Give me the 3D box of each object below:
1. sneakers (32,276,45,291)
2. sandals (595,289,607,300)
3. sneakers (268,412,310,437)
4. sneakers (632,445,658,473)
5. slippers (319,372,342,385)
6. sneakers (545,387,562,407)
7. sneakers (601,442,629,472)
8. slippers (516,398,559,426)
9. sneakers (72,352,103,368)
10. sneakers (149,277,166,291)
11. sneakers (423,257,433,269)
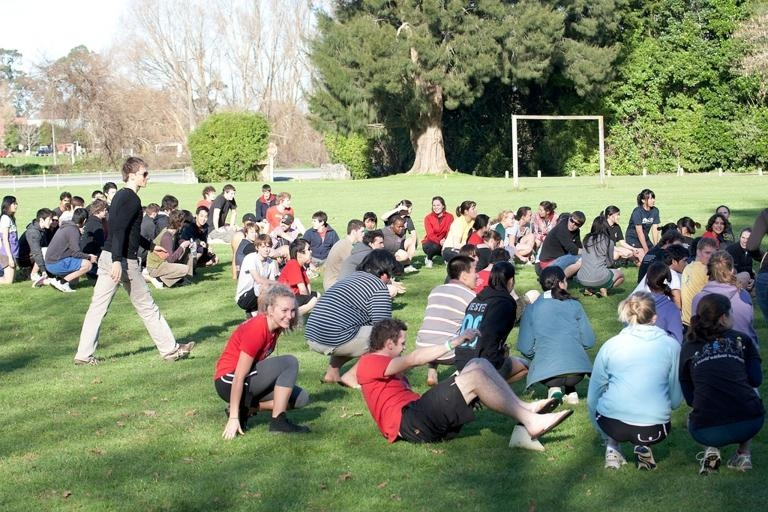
[{"bbox_3d":[-7.769,0.576,16.263,0.250,0.229,0.592,8,-1,-15],"label":"sneakers"},{"bbox_3d":[4.275,0.758,14.141,0.143,0.196,0.442,4,6,16],"label":"sandals"},{"bbox_3d":[-1.232,2.165,9.348,0.565,0.290,0.234,0,1,-12],"label":"sneakers"},{"bbox_3d":[3.043,2.348,8.446,0.291,0.303,0.264,-3,3,5],"label":"sneakers"},{"bbox_3d":[-0.784,1.824,10.793,0.348,0.233,0.123,-4,2,3],"label":"slippers"},{"bbox_3d":[2.211,1.803,9.248,0.189,0.225,0.546,0,-8,6],"label":"sneakers"},{"bbox_3d":[2.748,2.340,8.505,0.253,0.289,0.216,2,15,13],"label":"sneakers"},{"bbox_3d":[1.824,1.837,8.632,0.588,0.271,0.209,-4,-3,5],"label":"slippers"},{"bbox_3d":[-4.627,1.632,11.381,0.503,0.243,0.174,1,11,-16],"label":"sneakers"},{"bbox_3d":[-5.043,0.615,16.088,0.309,0.133,0.107,40,17,10],"label":"sneakers"},{"bbox_3d":[1.086,0.183,17.554,0.166,0.257,0.246,1,-5,-7],"label":"sneakers"}]
